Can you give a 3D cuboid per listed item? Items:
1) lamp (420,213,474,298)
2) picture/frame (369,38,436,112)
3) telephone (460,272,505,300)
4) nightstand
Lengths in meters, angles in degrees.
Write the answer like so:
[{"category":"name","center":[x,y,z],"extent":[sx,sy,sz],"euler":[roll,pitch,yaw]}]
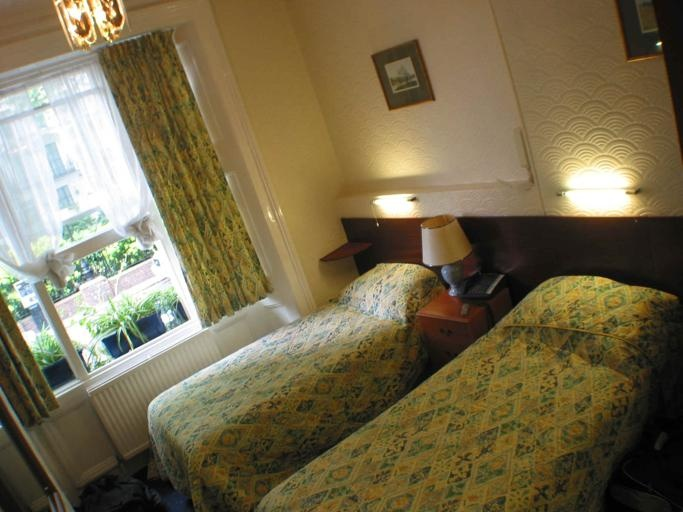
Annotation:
[{"category":"lamp","center":[0.839,0.015,3.875],"extent":[0.395,0.570,0.390],"euler":[-12,10,31]},{"category":"picture/frame","center":[0.503,-1.480,3.919],"extent":[0.070,0.627,0.686],"euler":[-33,18,-37]},{"category":"telephone","center":[1.093,0.223,3.760],"extent":[0.240,0.057,0.251],"euler":[-2,29,35]},{"category":"nightstand","center":[0.853,0.511,3.812],"extent":[0.551,0.720,0.654],"euler":[-30,19,-34]}]
